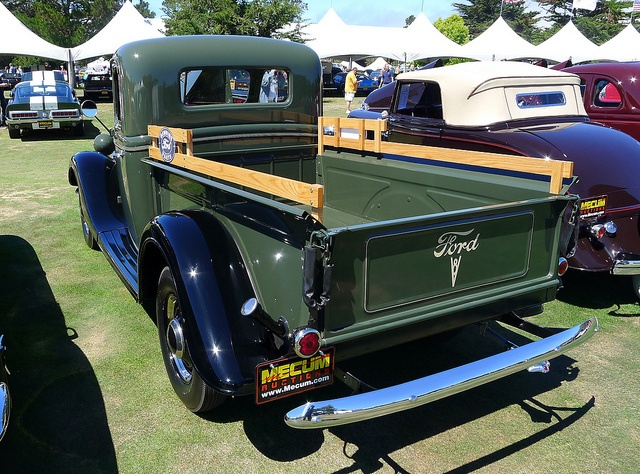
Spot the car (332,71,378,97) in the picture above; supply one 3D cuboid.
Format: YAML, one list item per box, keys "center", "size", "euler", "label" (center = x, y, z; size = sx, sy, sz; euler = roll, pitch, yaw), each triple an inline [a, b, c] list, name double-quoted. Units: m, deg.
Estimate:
- center: [2.172, -9.568, 31.127]
  size: [1.906, 0.999, 3.224]
  euler: [-12, 33, -28]
  label: "car"

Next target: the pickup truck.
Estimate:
- center: [-0.085, -0.398, 3.912]
  size: [2.544, 2.454, 3.865]
  euler: [-11, 21, -37]
  label: "pickup truck"
